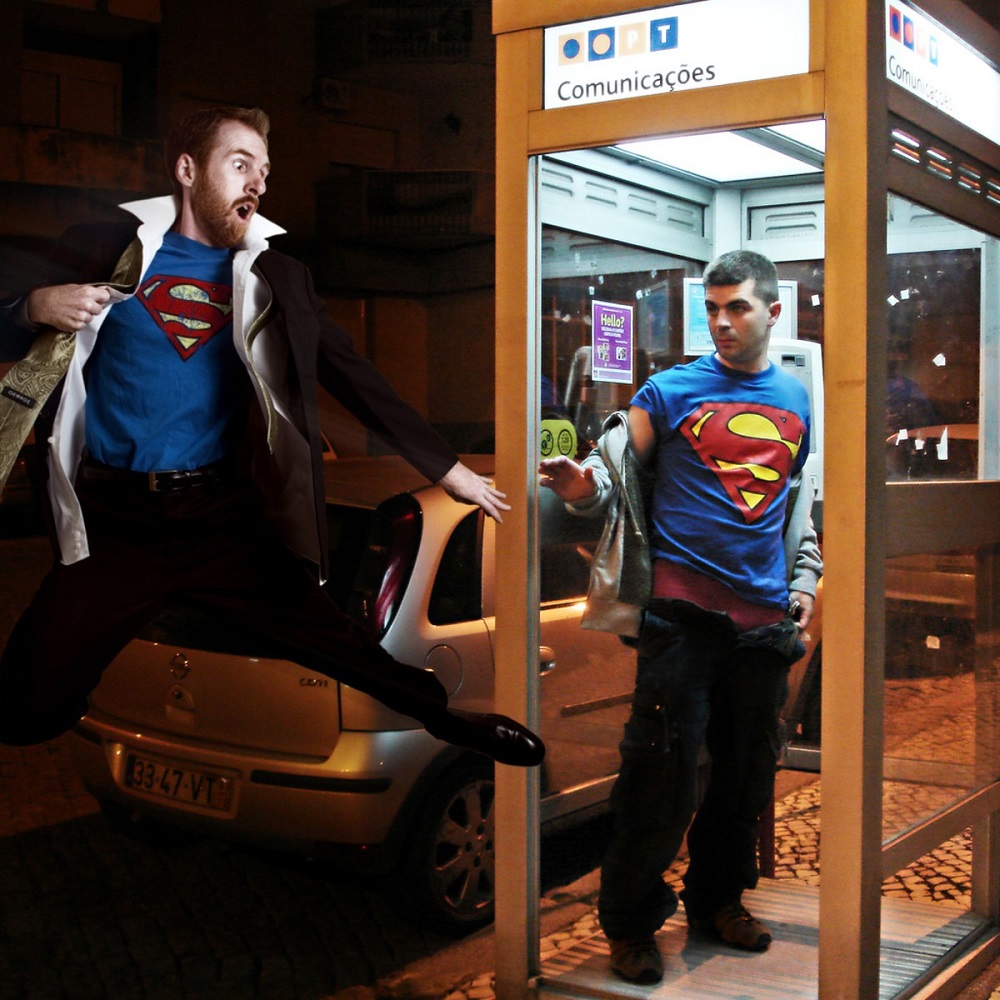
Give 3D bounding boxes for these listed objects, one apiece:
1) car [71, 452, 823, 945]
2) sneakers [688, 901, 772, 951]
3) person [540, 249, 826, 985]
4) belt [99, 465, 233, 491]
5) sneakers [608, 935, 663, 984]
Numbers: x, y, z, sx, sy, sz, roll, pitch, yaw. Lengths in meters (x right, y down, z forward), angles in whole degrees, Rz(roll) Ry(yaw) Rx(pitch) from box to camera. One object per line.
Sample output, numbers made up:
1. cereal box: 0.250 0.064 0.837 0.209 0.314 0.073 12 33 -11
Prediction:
1. car: -0.014 0.503 4.081 1.496 1.483 2.916 1 5 36
2. sneakers: 0.593 1.106 2.648 0.236 0.111 0.095 -3 -6 34
3. person: 0.489 0.273 2.538 0.643 1.828 0.196 1 -1 -1
4. belt: -0.796 -0.045 2.277 0.259 0.058 0.041 1 0 -25
5. sneakers: 0.336 1.136 2.458 0.064 0.112 0.161 12 -24 -35
